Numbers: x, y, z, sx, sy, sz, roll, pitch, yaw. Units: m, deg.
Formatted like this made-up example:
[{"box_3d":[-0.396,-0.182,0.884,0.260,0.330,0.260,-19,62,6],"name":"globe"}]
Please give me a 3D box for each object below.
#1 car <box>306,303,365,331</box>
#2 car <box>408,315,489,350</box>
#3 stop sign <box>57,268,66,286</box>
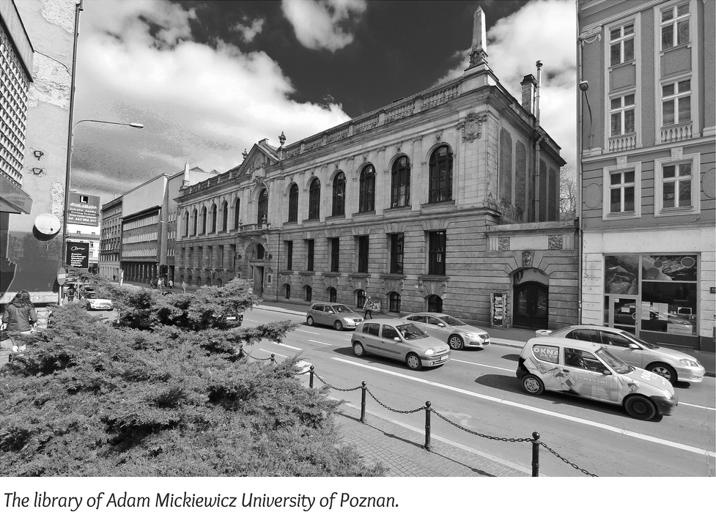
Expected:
[{"box_3d":[-1.196,3.294,31.788,1.374,0.952,2.530,3,-7,-45],"name":"car"},{"box_3d":[4.263,3.391,26.495,3.769,1.299,1.601,0,-3,35],"name":"car"},{"box_3d":[-11.405,0.753,21.981,0.270,0.704,0.768,4,-4,-27],"name":"stop sign"}]
